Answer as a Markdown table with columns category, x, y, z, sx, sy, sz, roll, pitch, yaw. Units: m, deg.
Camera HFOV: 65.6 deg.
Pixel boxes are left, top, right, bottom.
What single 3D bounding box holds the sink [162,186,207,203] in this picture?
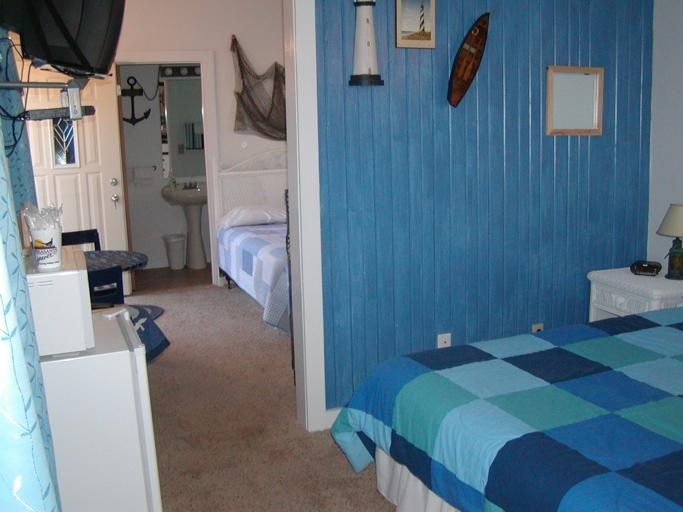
| category | x | y | z | sx | sy | sz | roll | pitch | yaw |
| --- | --- | --- | --- | --- | --- | --- | --- | --- | --- |
| sink | -1.904 | -0.740 | 6.470 | 0.574 | 0.237 | 0.401 | -5 | 13 | -9 |

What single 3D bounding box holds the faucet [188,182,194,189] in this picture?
| category | x | y | z | sx | sy | sz | roll | pitch | yaw |
| --- | --- | --- | --- | --- | --- | --- | --- | --- | --- |
| faucet | -1.873 | -0.889 | 6.667 | 0.054 | 0.063 | 0.106 | 4 | -6 | -15 |

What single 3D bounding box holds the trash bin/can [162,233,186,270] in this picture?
| category | x | y | z | sx | sy | sz | roll | pitch | yaw |
| --- | --- | --- | --- | --- | --- | --- | --- | --- | --- |
| trash bin/can | -1.997 | -0.082 | 6.677 | 0.389 | 0.488 | 0.359 | -4 | 4 | -23 |

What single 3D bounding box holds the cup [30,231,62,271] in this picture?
| category | x | y | z | sx | sy | sz | roll | pitch | yaw |
| --- | --- | --- | --- | --- | --- | --- | --- | --- | --- |
| cup | -1.014 | -0.024 | 1.847 | 0.112 | 0.145 | 0.115 | 1 | 8 | 0 |

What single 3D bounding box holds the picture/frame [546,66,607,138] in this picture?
| category | x | y | z | sx | sy | sz | roll | pitch | yaw |
| --- | --- | --- | --- | --- | --- | --- | --- | --- | --- |
| picture/frame | 1.469 | -0.993 | 3.361 | 0.396 | 0.464 | 0.033 | -3 | 8 | -19 |
